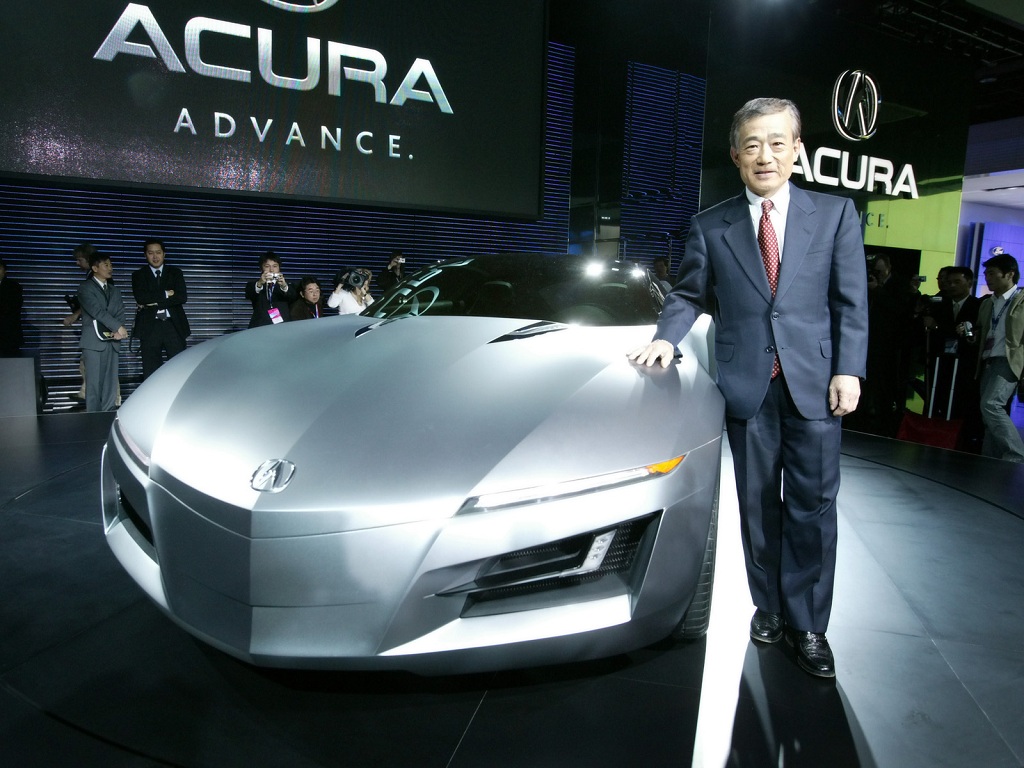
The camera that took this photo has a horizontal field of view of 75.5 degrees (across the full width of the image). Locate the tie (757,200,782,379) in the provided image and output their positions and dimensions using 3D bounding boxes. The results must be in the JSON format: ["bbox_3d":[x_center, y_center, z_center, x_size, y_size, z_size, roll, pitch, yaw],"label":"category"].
[{"bbox_3d":[0.851,-0.323,2.234,0.056,0.616,0.066,-3,-3,8],"label":"tie"}]

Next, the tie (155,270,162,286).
[{"bbox_3d":[-3.347,-1.015,6.230,0.055,0.086,0.019,0,-6,-12],"label":"tie"}]

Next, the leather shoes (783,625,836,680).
[{"bbox_3d":[0.993,0.889,2.206,0.069,0.091,0.206,-1,2,1],"label":"leather shoes"}]

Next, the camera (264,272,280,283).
[{"bbox_3d":[-2.216,-0.966,6.057,0.097,0.053,0.075,0,13,9],"label":"camera"}]
